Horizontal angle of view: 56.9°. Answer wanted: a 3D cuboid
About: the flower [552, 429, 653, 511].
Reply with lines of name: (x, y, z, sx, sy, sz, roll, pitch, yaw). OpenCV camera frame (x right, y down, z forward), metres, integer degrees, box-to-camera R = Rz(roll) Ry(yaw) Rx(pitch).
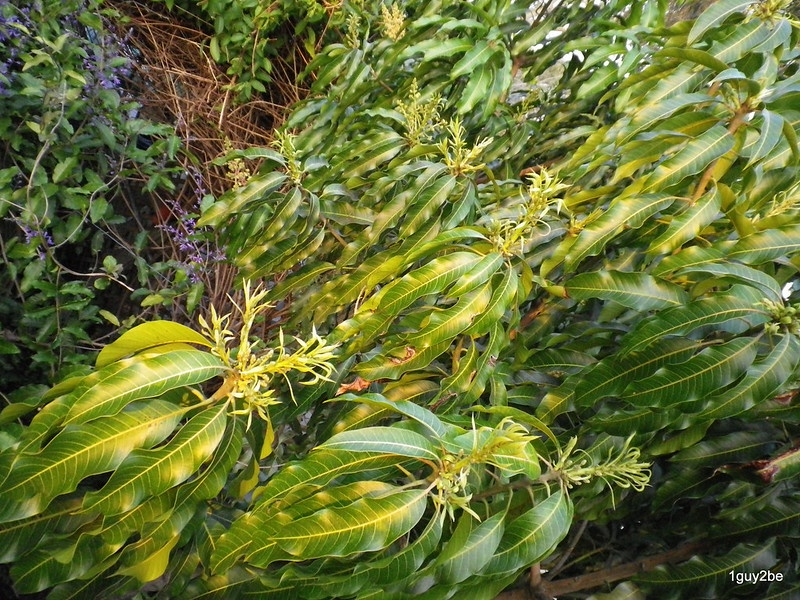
flower: (0.409, 0.339, 1.500, 0.226, 0.152, 0.075, -9, 13, 14)

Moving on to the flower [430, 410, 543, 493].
flower: (0.158, 0.284, 1.335, 0.222, 0.115, 0.099, -1, 1, 9)
